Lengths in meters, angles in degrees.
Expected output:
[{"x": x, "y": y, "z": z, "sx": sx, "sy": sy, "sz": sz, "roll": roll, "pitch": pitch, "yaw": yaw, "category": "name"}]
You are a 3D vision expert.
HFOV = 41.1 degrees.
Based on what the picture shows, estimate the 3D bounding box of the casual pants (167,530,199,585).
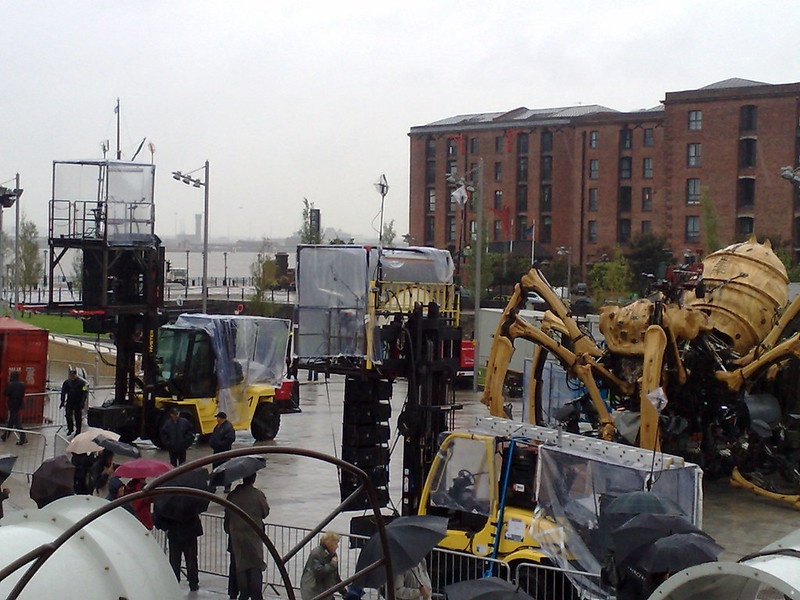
[{"x": -3.243, "y": 3.920, "z": 16.038, "sx": 0.372, "sy": 0.898, "sz": 0.263, "roll": -10, "pitch": -28, "yaw": -11, "category": "casual pants"}]

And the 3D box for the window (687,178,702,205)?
[{"x": 22.113, "y": -8.177, "z": 80.281, "sx": 1.008, "sy": 1.989, "sz": 0.508, "roll": 2, "pitch": 3, "yaw": 45, "category": "window"}]

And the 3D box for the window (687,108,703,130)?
[{"x": 22.036, "y": -13.531, "z": 79.522, "sx": 1.446, "sy": 2.314, "sz": 0.238, "roll": 0, "pitch": 2, "yaw": 17, "category": "window"}]

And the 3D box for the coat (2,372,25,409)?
[{"x": -9.534, "y": 2.215, "z": 26.364, "sx": 0.441, "sy": 0.830, "sz": 0.644, "roll": -1, "pitch": 2, "yaw": -22, "category": "coat"}]

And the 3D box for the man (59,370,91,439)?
[{"x": -8.234, "y": 2.553, "z": 26.903, "sx": 0.580, "sy": 1.796, "sz": 0.533, "roll": 4, "pitch": 11, "yaw": -3, "category": "man"}]

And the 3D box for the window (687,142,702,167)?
[{"x": 21.972, "y": -10.845, "z": 79.829, "sx": 0.896, "sy": 1.697, "sz": 0.396, "roll": 1, "pitch": 2, "yaw": 27, "category": "window"}]

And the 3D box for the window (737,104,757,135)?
[{"x": 25.183, "y": -13.031, "z": 77.169, "sx": 0.306, "sy": 3.317, "sz": 1.723, "roll": -9, "pitch": 14, "yaw": -36, "category": "window"}]

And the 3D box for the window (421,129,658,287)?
[{"x": 12.147, "y": -7.549, "z": 84.183, "sx": 13.532, "sy": 9.450, "sz": 7.441, "roll": 1, "pitch": 2, "yaw": 33, "category": "window"}]

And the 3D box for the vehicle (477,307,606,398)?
[{"x": 4.994, "y": 1.599, "z": 38.063, "sx": 4.634, "sy": 5.073, "sz": 2.861, "roll": -1, "pitch": 0, "yaw": -15, "category": "vehicle"}]

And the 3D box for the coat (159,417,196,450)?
[{"x": -4.532, "y": 2.712, "z": 21.877, "sx": 0.615, "sy": 0.707, "sz": 0.689, "roll": -1, "pitch": 3, "yaw": -31, "category": "coat"}]

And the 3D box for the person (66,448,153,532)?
[{"x": -4.783, "y": 2.936, "z": 17.336, "sx": 1.519, "sy": 0.704, "sz": 1.608, "roll": 15, "pitch": 8, "yaw": 22, "category": "person"}]

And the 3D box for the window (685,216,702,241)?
[{"x": 22.079, "y": -5.384, "z": 80.530, "sx": 0.528, "sy": 1.889, "sz": 1.132, "roll": -2, "pitch": 3, "yaw": -43, "category": "window"}]

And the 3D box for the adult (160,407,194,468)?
[{"x": -4.571, "y": 2.953, "z": 21.932, "sx": 0.627, "sy": 1.543, "sz": 0.408, "roll": 0, "pitch": 16, "yaw": -5, "category": "adult"}]

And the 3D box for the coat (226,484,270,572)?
[{"x": -2.219, "y": 3.395, "z": 15.447, "sx": 0.585, "sy": 1.554, "sz": 0.527, "roll": -1, "pitch": 10, "yaw": -18, "category": "coat"}]

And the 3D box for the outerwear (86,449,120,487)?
[{"x": -4.898, "y": 2.745, "z": 17.506, "sx": 0.199, "sy": 0.264, "sz": 0.638, "roll": 15, "pitch": -38, "yaw": -25, "category": "outerwear"}]

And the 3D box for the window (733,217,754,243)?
[{"x": 24.618, "y": -5.226, "z": 75.995, "sx": 1.172, "sy": 1.555, "sz": 2.387, "roll": 1, "pitch": 2, "yaw": 17, "category": "window"}]

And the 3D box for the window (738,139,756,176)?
[{"x": 25.119, "y": -10.588, "z": 77.194, "sx": 1.290, "sy": 2.265, "sz": 0.640, "roll": 1, "pitch": 2, "yaw": 28, "category": "window"}]
